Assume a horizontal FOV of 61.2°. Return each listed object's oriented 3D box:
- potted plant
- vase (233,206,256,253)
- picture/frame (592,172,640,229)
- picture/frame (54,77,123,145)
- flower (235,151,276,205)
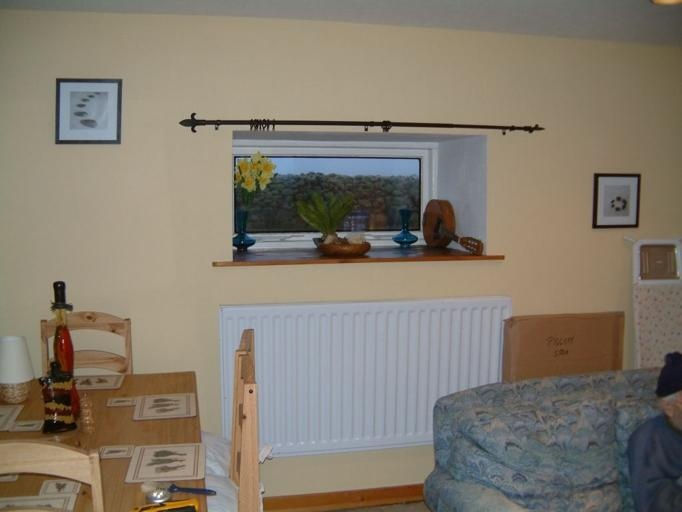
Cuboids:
[{"bbox_3d":[-0.040,-0.177,3.225,0.407,0.385,0.349,2,4,-6],"label":"potted plant"},{"bbox_3d":[-0.562,-0.153,3.335,0.129,0.252,0.269,0,4,-10],"label":"vase"},{"bbox_3d":[1.599,-0.335,3.345,0.303,0.375,0.025,0,1,-12],"label":"picture/frame"},{"bbox_3d":[-1.278,-0.729,2.852,0.301,0.323,0.022,-2,9,-9],"label":"picture/frame"},{"bbox_3d":[-0.500,-0.447,3.316,0.240,0.301,0.264,0,4,-7],"label":"flower"}]
